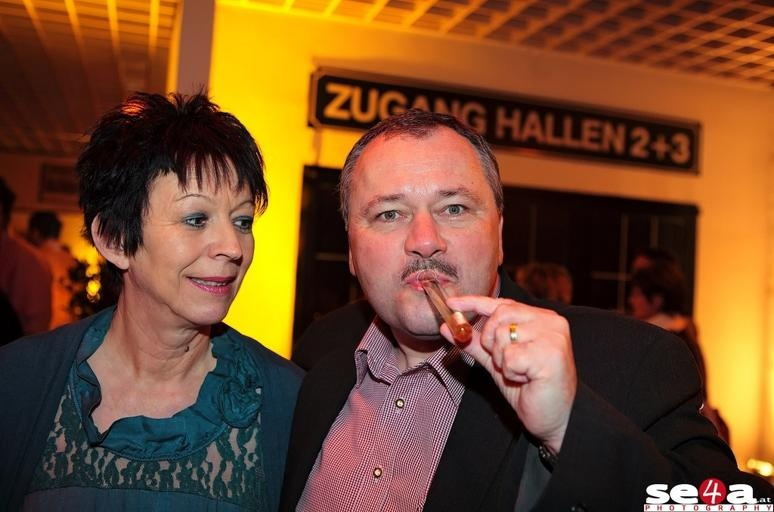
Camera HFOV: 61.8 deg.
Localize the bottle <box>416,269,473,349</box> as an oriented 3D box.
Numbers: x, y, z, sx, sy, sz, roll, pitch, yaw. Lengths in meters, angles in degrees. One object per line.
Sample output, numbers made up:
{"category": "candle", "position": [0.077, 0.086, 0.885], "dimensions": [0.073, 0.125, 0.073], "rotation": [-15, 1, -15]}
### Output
{"category": "bottle", "position": [0.204, 0.194, 2.319], "dimensions": [0.098, 0.070, 0.443], "rotation": [-4, 18, -10]}
